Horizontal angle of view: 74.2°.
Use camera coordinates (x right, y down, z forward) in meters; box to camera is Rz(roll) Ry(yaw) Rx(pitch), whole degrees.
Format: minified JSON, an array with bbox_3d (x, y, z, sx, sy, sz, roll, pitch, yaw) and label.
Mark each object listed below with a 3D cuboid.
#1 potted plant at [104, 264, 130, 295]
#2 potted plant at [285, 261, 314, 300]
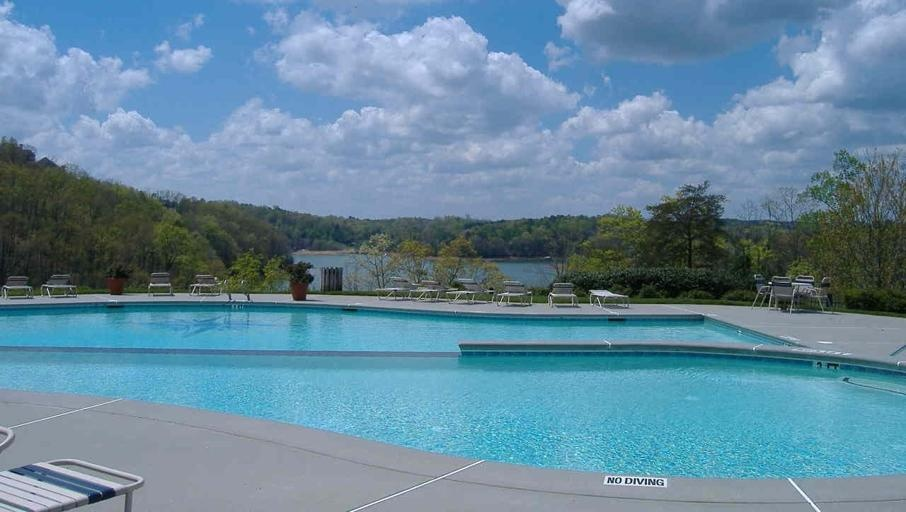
[{"bbox_3d":[-20.139,1.496,36.544,1.621,1.850,1.738,5,-5,-40],"label":"potted plant"},{"bbox_3d":[-9.113,1.568,35.924,2.310,2.576,2.032,0,-4,-10],"label":"potted plant"}]
